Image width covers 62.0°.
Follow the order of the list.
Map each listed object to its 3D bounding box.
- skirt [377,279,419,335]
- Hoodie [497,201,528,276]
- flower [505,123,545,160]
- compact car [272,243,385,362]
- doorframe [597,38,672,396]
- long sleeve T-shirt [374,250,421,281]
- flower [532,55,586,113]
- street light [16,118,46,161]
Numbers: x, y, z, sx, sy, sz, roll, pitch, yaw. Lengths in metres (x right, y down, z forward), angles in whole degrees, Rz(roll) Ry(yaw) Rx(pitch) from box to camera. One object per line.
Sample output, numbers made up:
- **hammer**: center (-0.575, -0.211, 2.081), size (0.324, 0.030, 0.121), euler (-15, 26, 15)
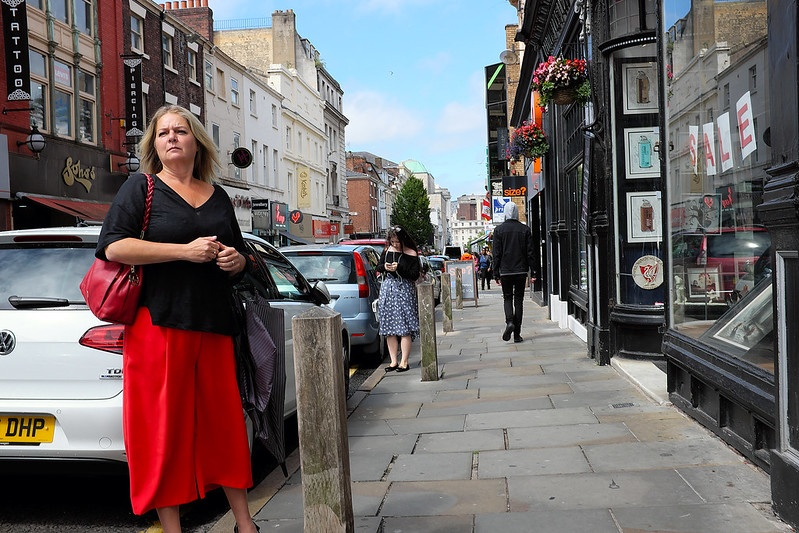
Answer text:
- **skirt**: center (-0.052, 0.667, 9.639), size (0.630, 0.856, 0.501), euler (-8, -29, -13)
- **Hoodie**: center (2.015, -0.487, 11.908), size (0.641, 1.319, 0.384), euler (-1, -3, 5)
- **flower**: center (3.052, -2.920, 15.712), size (0.826, 0.805, 0.915), euler (3, 7, -26)
- **compact car**: center (-0.861, 0.381, 10.991), size (1.140, 1.019, 2.287), euler (-2, 6, 9)
- **doorframe**: center (3.304, -1.094, 9.424), size (0.554, 4.458, 2.092), euler (-5, 20, 12)
- **long sleeve T-shirt**: center (-0.034, -0.011, 9.458), size (0.512, 0.232, 0.405), euler (1, -10, 36)
- **flower**: center (2.474, -2.745, 10.092), size (0.699, 0.569, 0.746), euler (0, 6, 14)
- **street light**: center (-10.241, -3.515, 18.409), size (0.884, 1.065, 0.609), euler (-1, 1, 23)
